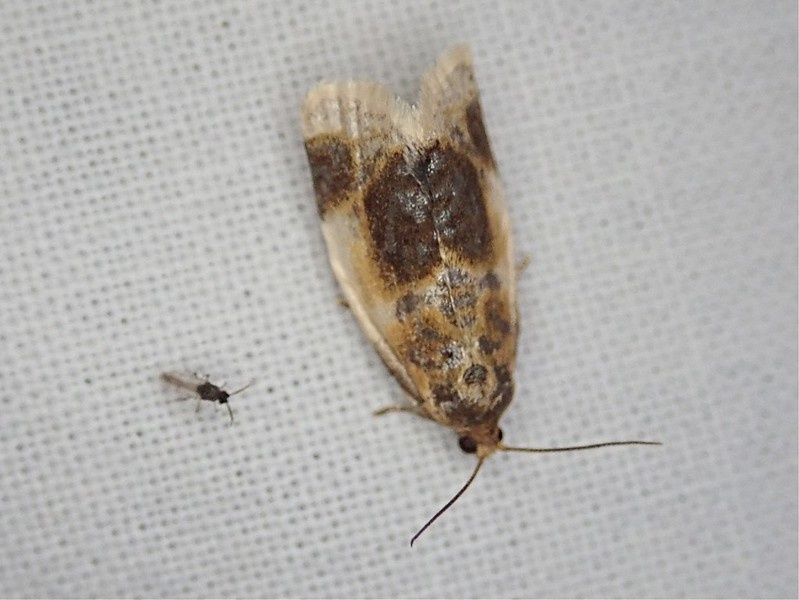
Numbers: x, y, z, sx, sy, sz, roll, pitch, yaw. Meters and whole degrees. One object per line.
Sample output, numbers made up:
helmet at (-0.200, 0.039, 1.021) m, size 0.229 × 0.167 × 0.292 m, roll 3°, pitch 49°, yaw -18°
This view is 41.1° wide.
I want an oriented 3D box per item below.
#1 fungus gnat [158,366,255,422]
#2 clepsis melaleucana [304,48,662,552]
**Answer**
fungus gnat at (-0.957, 0.465, 5.210) m, size 0.433 × 0.100 × 0.197 m, roll 8°, pitch 79°, yaw 3°
clepsis melaleucana at (0.187, -0.082, 4.639) m, size 1.122 × 0.347 × 1.875 m, roll -14°, pitch 97°, yaw -4°
